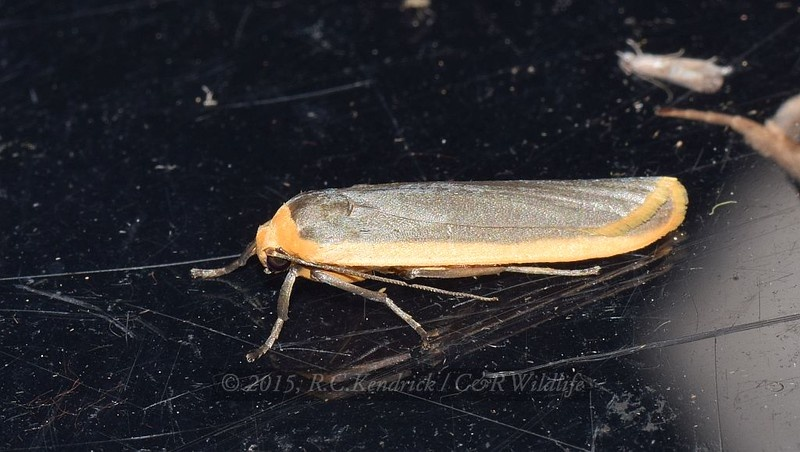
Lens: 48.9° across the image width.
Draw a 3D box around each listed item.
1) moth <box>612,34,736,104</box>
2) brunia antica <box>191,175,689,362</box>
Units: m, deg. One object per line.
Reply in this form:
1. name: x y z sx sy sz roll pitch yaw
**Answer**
1. moth: 1.828 -0.987 5.718 0.698 0.408 0.257 14 88 20
2. brunia antica: 0.411 0.067 5.050 2.376 0.666 0.773 -13 60 10
